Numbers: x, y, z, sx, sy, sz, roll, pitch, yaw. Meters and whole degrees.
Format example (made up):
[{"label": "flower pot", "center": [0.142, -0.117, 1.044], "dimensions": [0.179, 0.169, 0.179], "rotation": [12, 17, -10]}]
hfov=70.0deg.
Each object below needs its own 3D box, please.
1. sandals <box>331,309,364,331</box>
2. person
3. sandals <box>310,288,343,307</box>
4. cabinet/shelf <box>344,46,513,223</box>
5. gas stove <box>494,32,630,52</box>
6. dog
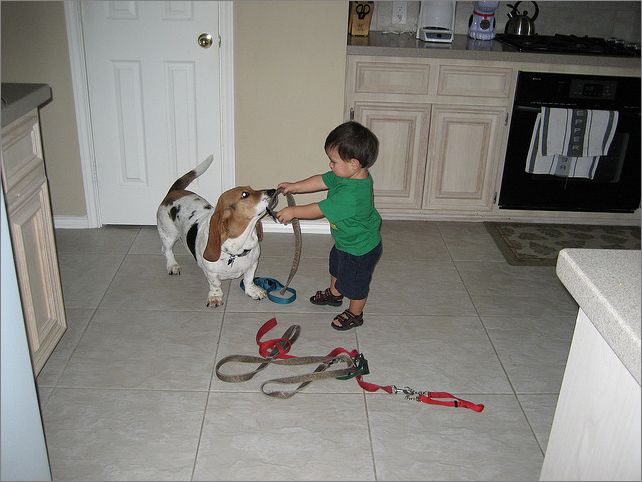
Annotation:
[{"label": "sandals", "center": [0.144, 0.428, 2.498], "dimensions": [0.170, 0.070, 0.084], "rotation": [-1, 29, -10]}, {"label": "person", "center": [0.069, -0.099, 2.480], "dimensions": [0.507, 1.075, 0.430], "rotation": [8, 24, 17]}, {"label": "sandals", "center": [0.035, 0.328, 2.708], "dimensions": [0.177, 0.078, 0.085], "rotation": [3, 13, -4]}, {"label": "cabinet/shelf", "center": [0.795, -0.836, 3.815], "dimensions": [1.714, 1.537, 0.905], "rotation": [1, 27, 1]}, {"label": "gas stove", "center": [1.877, -1.542, 3.574], "dimensions": [0.979, 0.159, 0.787], "rotation": [0, 22, -2]}, {"label": "dog", "center": [-0.659, -0.047, 2.725], "dimensions": [0.369, 0.661, 1.218], "rotation": [-9, 20, -36]}]
